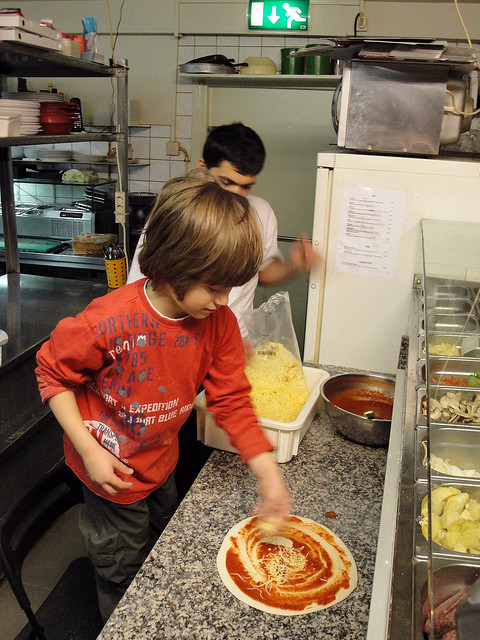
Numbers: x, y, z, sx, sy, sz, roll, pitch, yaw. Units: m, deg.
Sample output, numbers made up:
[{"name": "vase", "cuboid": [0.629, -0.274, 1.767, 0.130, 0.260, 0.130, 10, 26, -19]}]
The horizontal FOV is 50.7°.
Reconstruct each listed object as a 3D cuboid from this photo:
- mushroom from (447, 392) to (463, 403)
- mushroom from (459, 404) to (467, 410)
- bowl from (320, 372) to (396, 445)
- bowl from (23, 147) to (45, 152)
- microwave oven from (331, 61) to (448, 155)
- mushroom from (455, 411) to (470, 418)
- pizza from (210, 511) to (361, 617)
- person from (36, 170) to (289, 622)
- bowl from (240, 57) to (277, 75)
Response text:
[{"name": "mushroom", "cuboid": [0.379, 0.139, 0.901, 0.032, 0.014, 0.040, -15, -17, 40]}, {"name": "mushroom", "cuboid": [0.412, 0.160, 0.936, 0.019, 0.010, 0.007, -7, 20, -24]}, {"name": "bowl", "cuboid": [0.333, 0.227, 1.356, 0.180, 0.063, 0.177, 0, 17, 0]}, {"name": "bowl", "cuboid": [-1.602, -1.321, 3.920, 0.086, 0.029, 0.085, 1, 15, 0]}, {"name": "microwave oven", "cuboid": [0.482, -0.675, 1.525, 0.405, 0.270, 0.233, 9, 49, 19]}, {"name": "mushroom", "cuboid": [0.406, 0.173, 0.925, 0.033, 0.015, 0.006, -4, 19, -13]}, {"name": "pizza", "cuboid": [0.072, 0.434, 0.869, 0.159, 0.026, 0.152, 1, 17, 0]}, {"name": "person", "cuboid": [-0.153, 0.213, 0.970, 0.435, 0.949, 0.351, -3, 19, -10]}, {"name": "bowl", "cuboid": [0.128, -1.631, 3.255, 0.160, 0.084, 0.161, 3, 33, -2]}]
